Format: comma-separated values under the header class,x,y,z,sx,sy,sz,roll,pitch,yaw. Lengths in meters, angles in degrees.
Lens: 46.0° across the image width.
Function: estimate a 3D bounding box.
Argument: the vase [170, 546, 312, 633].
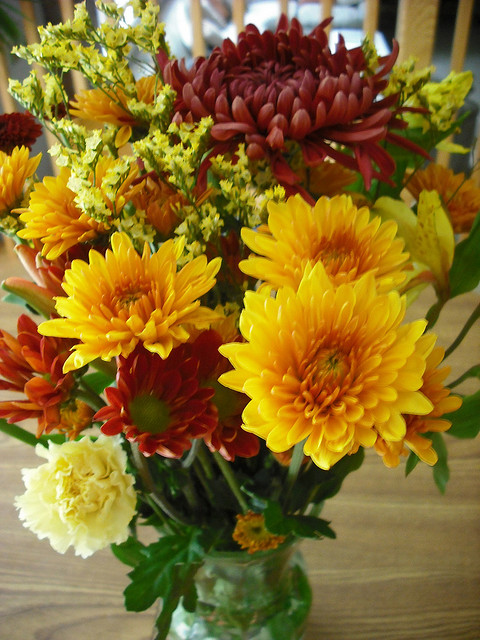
class,x,y,z,sx,sy,sz,roll,pitch,yaw
vase,-0.003,0.204,0.424,0.080,0.104,0.075,10,56,1
